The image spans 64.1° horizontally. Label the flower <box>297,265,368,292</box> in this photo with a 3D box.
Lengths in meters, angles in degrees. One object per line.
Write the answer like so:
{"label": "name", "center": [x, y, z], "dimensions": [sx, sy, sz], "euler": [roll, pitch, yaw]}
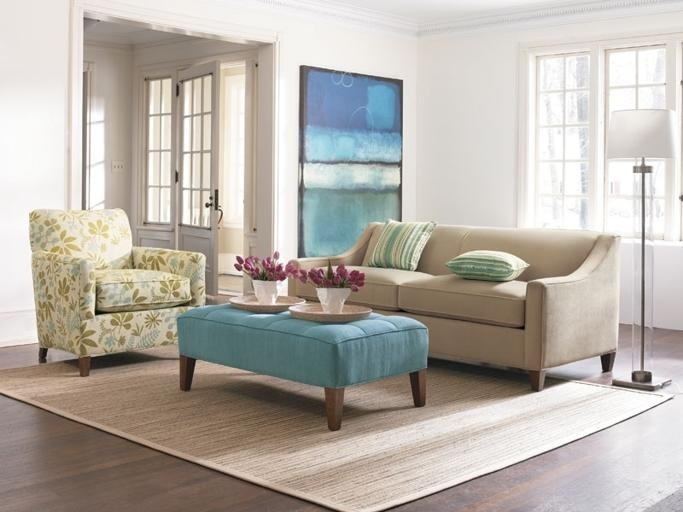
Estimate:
{"label": "flower", "center": [-0.060, 0.114, 3.092], "dimensions": [0.305, 0.145, 0.366], "euler": [0, 3, -21]}

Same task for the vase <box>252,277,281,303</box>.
{"label": "vase", "center": [-0.408, 0.215, 3.354], "dimensions": [0.154, 0.109, 0.147], "euler": [-2, -3, 37]}

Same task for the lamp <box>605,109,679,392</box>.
{"label": "lamp", "center": [1.963, -0.070, 3.633], "dimensions": [0.433, 1.835, 0.426], "euler": [2, 4, 25]}

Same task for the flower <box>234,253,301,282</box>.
{"label": "flower", "center": [-0.398, 0.078, 3.330], "dimensions": [0.376, 0.151, 0.335], "euler": [2, -5, 15]}

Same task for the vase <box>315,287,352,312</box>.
{"label": "vase", "center": [-0.022, 0.228, 3.063], "dimensions": [0.168, 0.112, 0.145], "euler": [3, -4, -37]}
